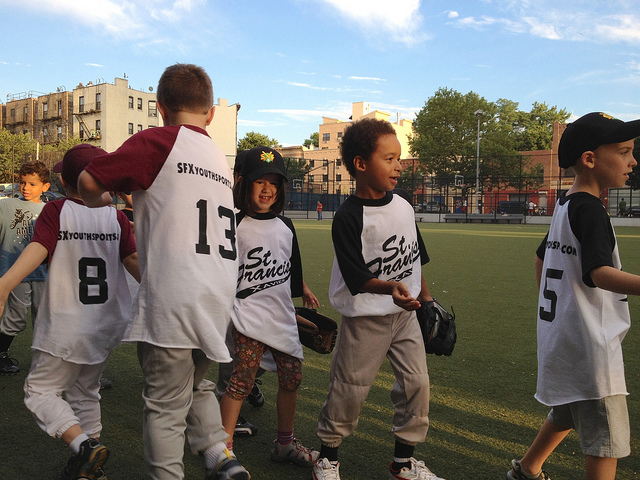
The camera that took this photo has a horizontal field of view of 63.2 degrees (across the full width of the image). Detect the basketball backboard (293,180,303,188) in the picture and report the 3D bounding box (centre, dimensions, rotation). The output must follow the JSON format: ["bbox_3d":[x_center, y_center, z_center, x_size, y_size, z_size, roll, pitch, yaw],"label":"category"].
[{"bbox_3d":[-1.712,-4.604,42.576,0.634,0.494,0.654,0,-2,2],"label":"basketball backboard"}]

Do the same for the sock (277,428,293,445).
[{"bbox_3d":[-0.208,1.157,3.054,0.068,0.081,0.085,1,-5,-3],"label":"sock"}]

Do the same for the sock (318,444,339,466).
[{"bbox_3d":[0.056,1.173,2.838,0.123,0.126,0.060,1,-1,-3],"label":"sock"}]

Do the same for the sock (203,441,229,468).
[{"bbox_3d":[-0.539,1.110,2.739,0.085,0.126,0.122,-4,2,-28],"label":"sock"}]

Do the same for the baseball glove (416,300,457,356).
[{"bbox_3d":[0.682,0.525,3.061,0.127,0.314,0.226,-22,-19,23],"label":"baseball glove"}]

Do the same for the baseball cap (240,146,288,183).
[{"bbox_3d":[-0.363,-0.505,3.386,0.289,0.219,0.415,-1,6,-26],"label":"baseball cap"}]

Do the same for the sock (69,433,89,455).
[{"bbox_3d":[-1.250,1.063,2.717,0.089,0.097,0.073,15,-17,13],"label":"sock"}]

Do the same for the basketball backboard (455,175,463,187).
[{"bbox_3d":[10.305,-4.345,38.520,0.564,0.789,1.263,3,6,15],"label":"basketball backboard"}]

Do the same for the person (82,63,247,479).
[{"bbox_3d":[-0.731,0.164,2.576,0.673,2.111,0.449,-1,6,-24],"label":"person"}]

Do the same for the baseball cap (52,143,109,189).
[{"bbox_3d":[-1.472,-0.478,3.250,0.304,0.249,0.413,0,23,-41],"label":"baseball cap"}]

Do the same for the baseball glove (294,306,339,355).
[{"bbox_3d":[-0.027,0.554,3.446,0.321,0.235,0.127,35,64,25],"label":"baseball glove"}]
